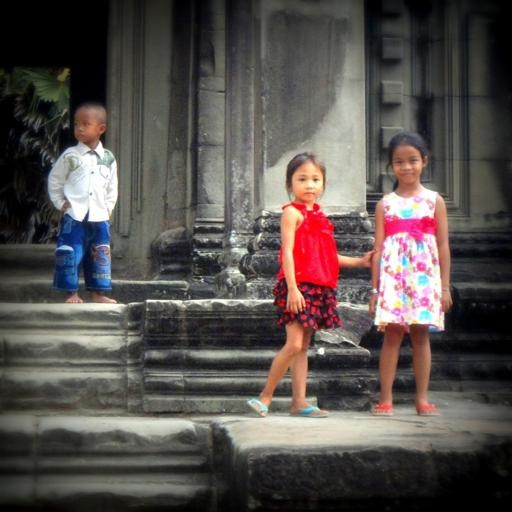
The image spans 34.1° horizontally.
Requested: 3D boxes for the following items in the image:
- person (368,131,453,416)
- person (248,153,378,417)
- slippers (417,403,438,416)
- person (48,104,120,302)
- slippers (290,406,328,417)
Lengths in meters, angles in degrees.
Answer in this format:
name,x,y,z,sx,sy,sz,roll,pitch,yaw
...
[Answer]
name,x,y,z,sx,sy,sz,roll,pitch,yaw
person,0.808,0.113,4.338,0.412,1.514,0.522,3,6,9
person,0.253,0.155,4.166,0.479,1.350,0.637,4,7,17
slippers,0.858,0.769,4.182,0.110,0.062,0.139,3,6,11
person,-1.174,-0.355,5.704,0.457,1.401,0.798,0,6,-12
slippers,0.254,0.761,4.045,0.137,0.039,0.065,-7,-6,31
